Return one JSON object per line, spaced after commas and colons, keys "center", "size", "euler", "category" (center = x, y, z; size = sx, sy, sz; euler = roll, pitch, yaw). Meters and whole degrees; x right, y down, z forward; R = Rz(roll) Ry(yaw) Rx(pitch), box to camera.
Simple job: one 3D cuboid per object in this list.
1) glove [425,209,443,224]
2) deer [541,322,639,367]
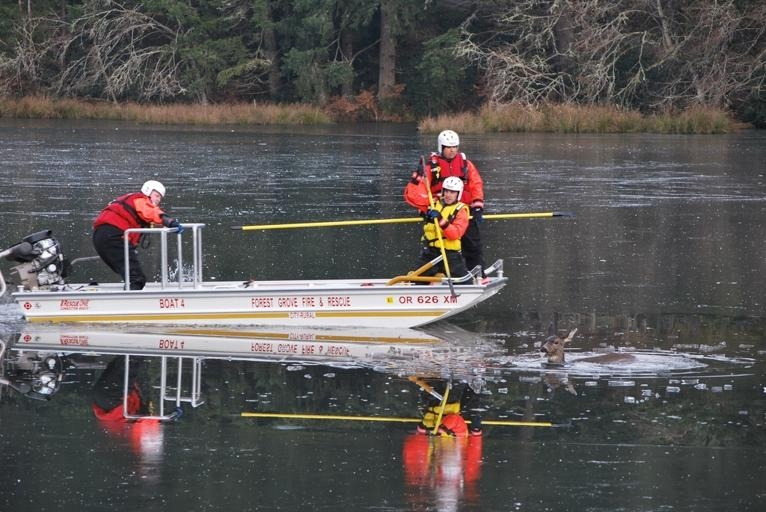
{"center": [1.494, -1.197, 54.255], "size": [0.375, 0.388, 0.599], "euler": [-3, 6, -24], "category": "glove"}
{"center": [5.962, 2.808, 52.930], "size": [2.790, 0.890, 1.886], "euler": [-2, -6, 12], "category": "deer"}
